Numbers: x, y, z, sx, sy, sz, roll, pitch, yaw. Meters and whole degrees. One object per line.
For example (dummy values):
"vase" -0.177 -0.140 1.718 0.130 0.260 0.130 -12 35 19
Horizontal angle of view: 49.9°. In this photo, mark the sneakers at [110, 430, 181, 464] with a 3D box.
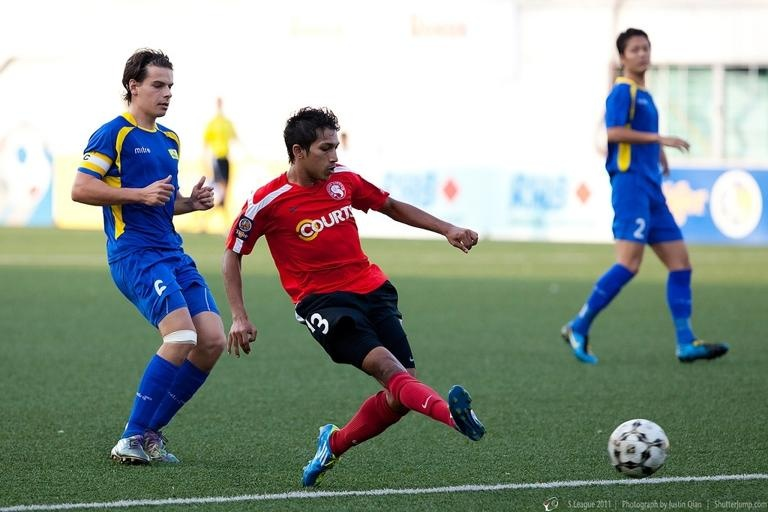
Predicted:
"sneakers" -1.493 1.181 5.200 0.463 0.226 0.180 3 14 -28

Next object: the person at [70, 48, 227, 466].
"person" -1.491 -0.030 5.301 0.862 2.568 0.811 -4 10 -15

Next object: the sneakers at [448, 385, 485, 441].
"sneakers" 0.428 0.839 4.395 0.182 0.349 0.180 -2 10 -4

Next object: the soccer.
"soccer" 1.434 1.084 4.670 0.318 0.325 0.315 5 -14 -19

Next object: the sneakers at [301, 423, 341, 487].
"sneakers" -0.346 1.155 4.884 0.190 0.401 0.140 19 3 8

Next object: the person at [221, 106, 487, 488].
"person" -0.201 0.207 4.923 1.467 2.157 0.891 2 10 20
